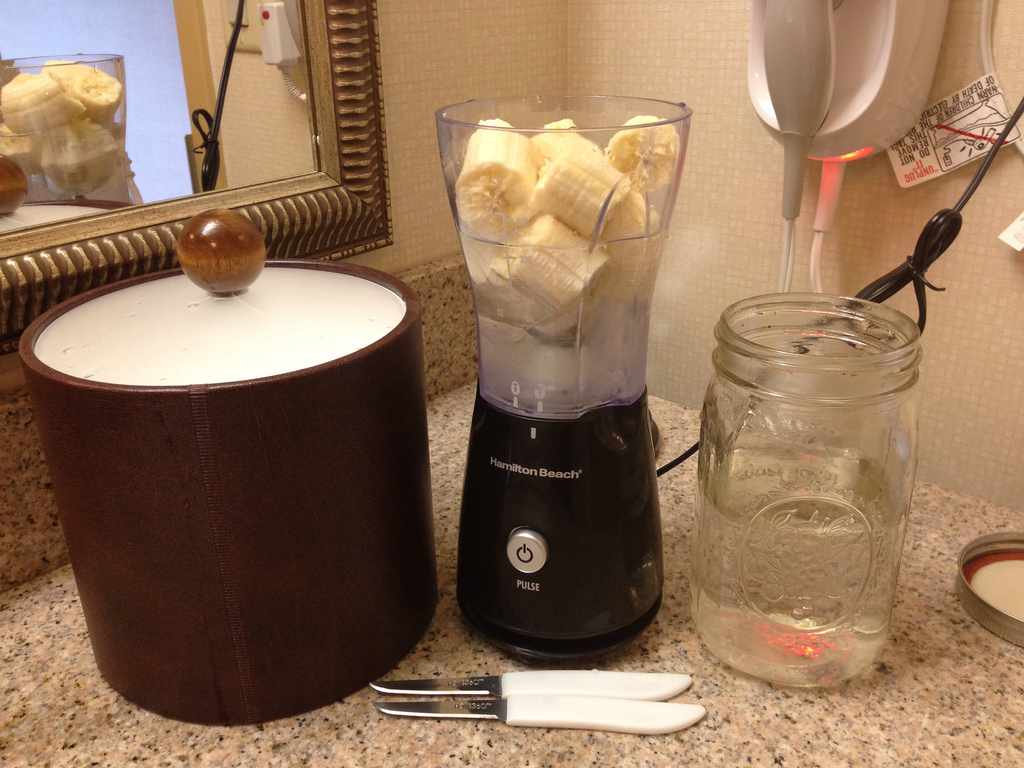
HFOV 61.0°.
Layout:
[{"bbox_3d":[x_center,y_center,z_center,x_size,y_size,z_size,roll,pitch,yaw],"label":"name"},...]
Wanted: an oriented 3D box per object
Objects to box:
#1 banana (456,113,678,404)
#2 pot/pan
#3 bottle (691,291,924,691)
[{"bbox_3d":[0.043,-0.128,0.805,0.211,0.302,0.218,1,20,4],"label":"banana"},{"bbox_3d":[-0.258,0.015,0.775,0.307,0.390,0.329,-2,33,-17],"label":"pot/pan"},{"bbox_3d":[0.270,0.081,0.820,0.198,0.366,0.209,-4,30,2],"label":"bottle"}]
